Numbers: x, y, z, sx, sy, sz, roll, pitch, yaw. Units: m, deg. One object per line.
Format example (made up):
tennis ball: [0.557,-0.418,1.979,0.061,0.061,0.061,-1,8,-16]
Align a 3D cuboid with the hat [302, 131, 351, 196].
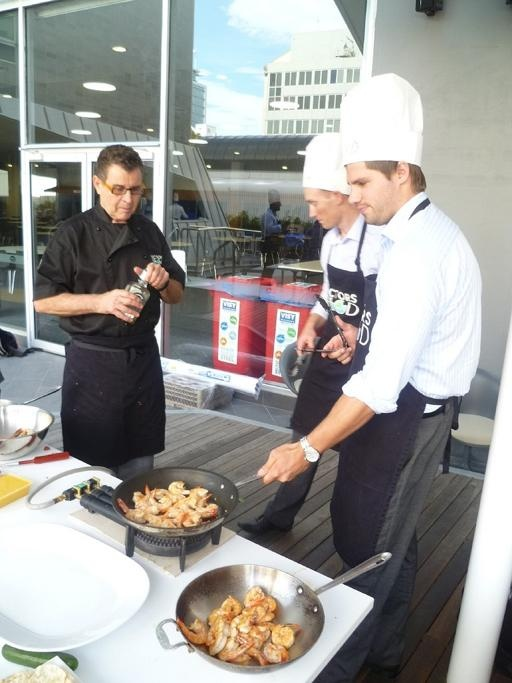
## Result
hat: [0.266,-0.694,2.194,0.177,0.295,0.223,10,20,28]

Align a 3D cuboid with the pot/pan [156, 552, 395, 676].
pot/pan: [0.035,0.456,0.919,0.337,0.162,0.243,8,8,16]

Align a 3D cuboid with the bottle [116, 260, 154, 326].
bottle: [-0.404,-0.153,1.760,0.097,0.186,0.103,4,16,-1]

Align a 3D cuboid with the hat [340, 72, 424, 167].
hat: [0.311,-0.523,1.345,0.193,0.240,0.236,17,19,28]

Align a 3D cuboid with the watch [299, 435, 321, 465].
watch: [0.122,0.266,1.292,0.043,0.067,0.068,-37,6,5]

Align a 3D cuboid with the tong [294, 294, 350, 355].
tong: [0.263,-0.054,2.297,0.186,0.245,0.204,8,14,-3]

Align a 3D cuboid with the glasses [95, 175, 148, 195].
glasses: [-0.477,-0.539,1.886,0.152,0.060,0.091,3,8,-22]

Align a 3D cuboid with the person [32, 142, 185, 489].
person: [-0.480,0.065,2.043,0.506,1.403,0.540,5,7,41]

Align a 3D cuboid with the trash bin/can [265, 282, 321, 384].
trash bin/can: [0.224,-0.066,4.114,0.361,0.734,0.393,2,14,-15]

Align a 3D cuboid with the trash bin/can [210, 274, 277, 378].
trash bin/can: [-0.125,-0.115,4.375,0.513,0.810,0.268,9,17,13]

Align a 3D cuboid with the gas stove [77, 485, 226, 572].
gas stove: [-0.195,0.375,1.261,0.336,0.143,0.397,5,12,-20]

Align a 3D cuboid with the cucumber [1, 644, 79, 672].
cucumber: [-0.346,0.506,0.840,0.123,0.031,0.032,6,8,0]
